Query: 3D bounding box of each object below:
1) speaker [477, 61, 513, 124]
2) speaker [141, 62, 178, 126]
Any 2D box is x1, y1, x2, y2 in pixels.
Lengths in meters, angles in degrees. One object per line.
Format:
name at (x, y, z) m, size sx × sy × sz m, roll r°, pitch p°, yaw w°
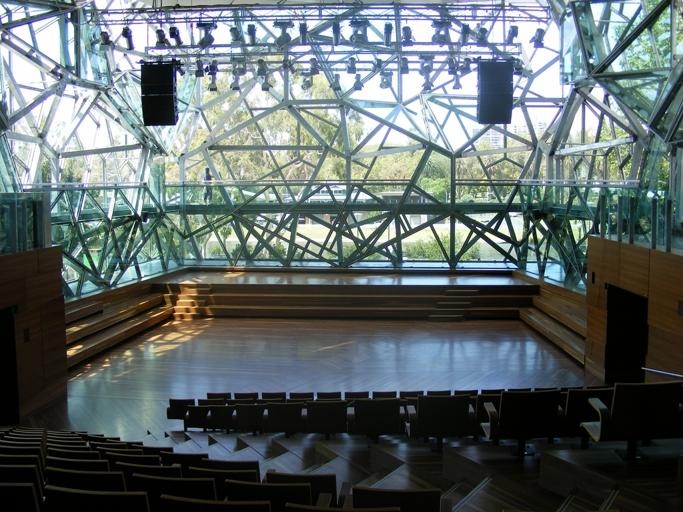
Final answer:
speaker at (3.686, -3.957, 13.025) m, size 0.810 × 1.482 × 0.246 m, roll 0°, pitch 7°, yaw 6°
speaker at (-4.588, -4.116, 13.622) m, size 0.898 × 1.585 × 0.272 m, roll -1°, pitch 7°, yaw 1°
